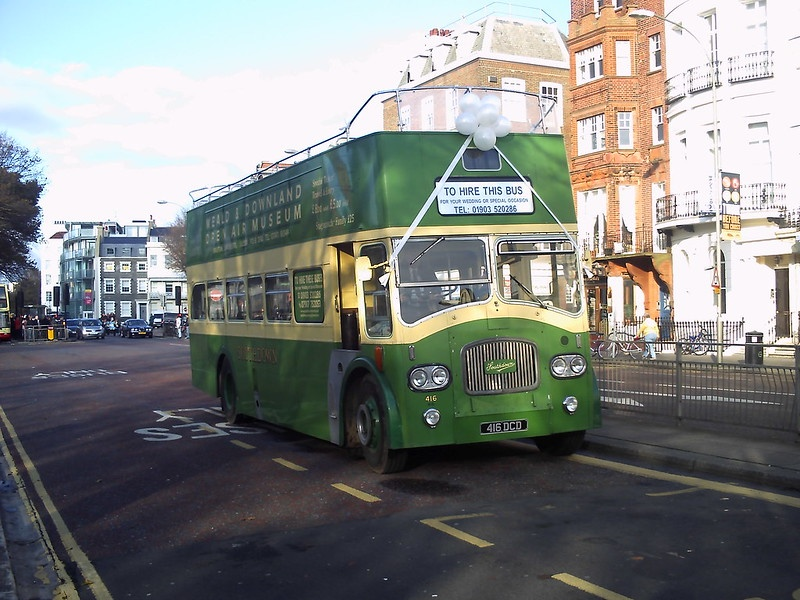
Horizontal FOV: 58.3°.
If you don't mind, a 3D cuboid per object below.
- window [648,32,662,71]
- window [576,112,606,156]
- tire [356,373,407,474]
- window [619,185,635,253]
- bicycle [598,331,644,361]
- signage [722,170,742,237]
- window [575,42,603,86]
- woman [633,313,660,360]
[{"bbox_3d":[14.098,-13.525,38.930,1.015,1.940,0.138,-20,20,-24],"label":"window"},{"bbox_3d":[11.429,-9.645,41.812,0.216,2.024,2.197,-12,8,-35],"label":"window"},{"bbox_3d":[-0.237,1.699,9.843,0.495,1.299,0.927,-3,0,-22],"label":"tire"},{"bbox_3d":[12.937,-4.466,40.396,1.023,5.093,0.443,2,-29,14],"label":"window"},{"bbox_3d":[5.465,1.116,17.596,1.315,0.823,0.678,0,0,-2],"label":"bicycle"},{"bbox_3d":[13.934,-3.884,29.732,0.198,2.619,1.100,-11,15,-15],"label":"signage"},{"bbox_3d":[11.172,-13.678,41.578,0.247,2.845,2.905,4,-3,-25],"label":"window"},{"bbox_3d":[7.992,1.090,22.874,0.840,1.980,0.622,2,10,11],"label":"woman"}]
